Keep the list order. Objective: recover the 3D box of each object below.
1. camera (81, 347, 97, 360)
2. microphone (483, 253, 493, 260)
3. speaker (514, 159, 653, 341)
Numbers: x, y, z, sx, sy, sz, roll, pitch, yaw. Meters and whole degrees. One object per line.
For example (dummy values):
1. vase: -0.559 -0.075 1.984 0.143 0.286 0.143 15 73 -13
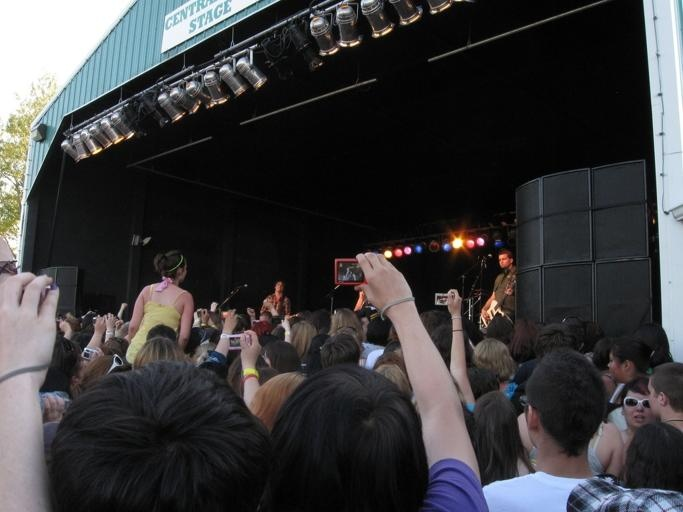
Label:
1. camera: -1.733 0.664 3.347 0.077 0.083 0.081 10 -18 -4
2. microphone: 3.649 0.022 12.167 0.184 0.103 0.269 -3 0 -2
3. speaker: 2.500 -0.020 5.001 0.978 2.141 1.360 8 -12 -28
